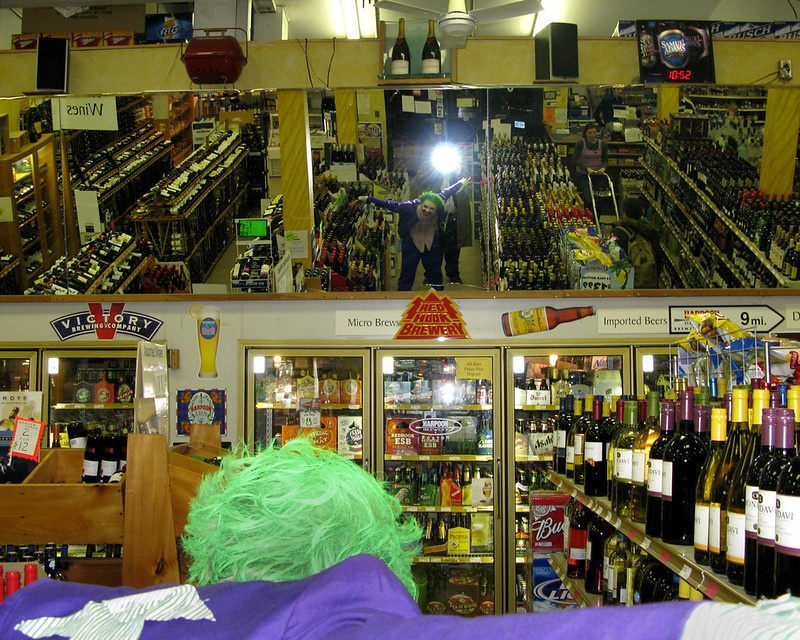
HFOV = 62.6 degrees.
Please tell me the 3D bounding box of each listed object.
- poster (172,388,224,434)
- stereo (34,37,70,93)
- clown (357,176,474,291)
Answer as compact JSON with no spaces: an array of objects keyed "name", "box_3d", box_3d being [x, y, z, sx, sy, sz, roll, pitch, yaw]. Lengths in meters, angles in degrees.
[{"name":"poster","box_3d":[-1.397,0.631,4.621,0.313,0.324,0.038,-1,-7,1]},{"name":"stereo","box_3d":[-2.590,-1.947,4.911,0.220,0.411,0.177,2,-6,-24]},{"name":"clown","box_3d":[0.251,-0.920,6.804,0.805,1.114,0.660,6,6,32]}]
